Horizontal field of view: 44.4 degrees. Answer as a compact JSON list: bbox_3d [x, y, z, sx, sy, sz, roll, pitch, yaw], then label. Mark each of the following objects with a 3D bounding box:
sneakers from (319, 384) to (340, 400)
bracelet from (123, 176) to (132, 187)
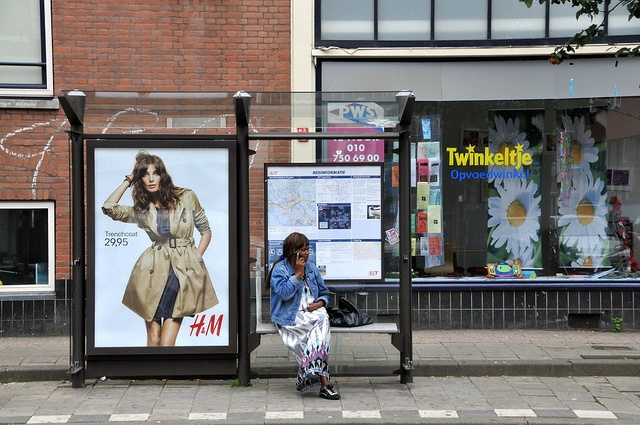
[{"bbox_3d":[0.151,2.541,11.133,0.304,0.208,0.161,-3,0,-2],"label":"sneakers"},{"bbox_3d":[-2.797,-0.464,11.404,0.119,0.136,0.050,24,0,-6],"label":"bracelet"}]
